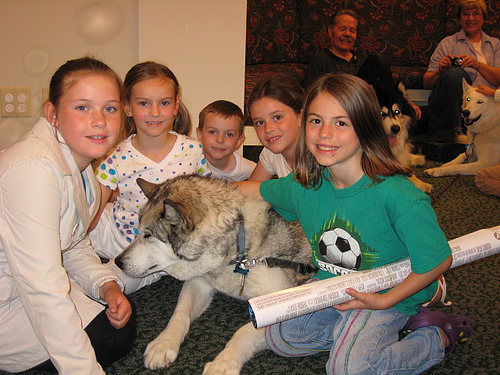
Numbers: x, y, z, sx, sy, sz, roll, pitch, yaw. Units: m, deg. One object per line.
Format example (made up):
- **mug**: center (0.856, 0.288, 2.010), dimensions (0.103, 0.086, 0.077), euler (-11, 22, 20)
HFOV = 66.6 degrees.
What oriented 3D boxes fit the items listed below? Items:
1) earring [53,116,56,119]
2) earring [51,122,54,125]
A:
- **earring**: center (-1.130, -0.414, 2.209), dimensions (0.011, 0.021, 0.007), euler (-4, -3, 25)
- **earring**: center (-1.146, -0.379, 2.214), dimensions (0.019, 0.007, 0.026), euler (-1, -7, 2)
